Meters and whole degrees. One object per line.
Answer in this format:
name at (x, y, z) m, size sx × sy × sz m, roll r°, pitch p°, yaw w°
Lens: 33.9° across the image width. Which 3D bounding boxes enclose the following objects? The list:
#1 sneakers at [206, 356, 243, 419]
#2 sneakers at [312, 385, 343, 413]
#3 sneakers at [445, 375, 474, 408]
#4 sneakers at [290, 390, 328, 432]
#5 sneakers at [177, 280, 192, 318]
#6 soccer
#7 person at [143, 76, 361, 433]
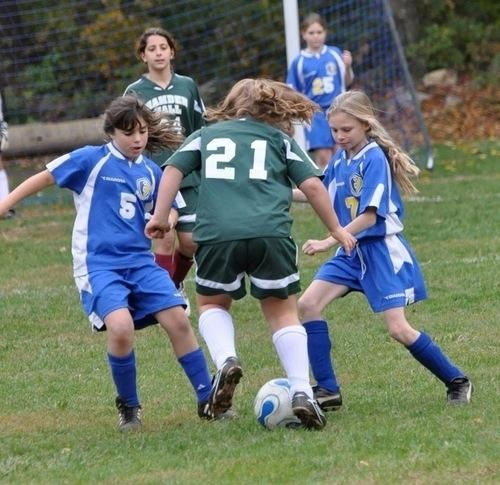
sneakers at (-0.142, 0.725, 3.969) m, size 0.119 × 0.342 × 0.166 m, roll 10°, pitch 25°, yaw -17°
sneakers at (0.387, 0.807, 4.318) m, size 0.196 × 0.093 × 0.071 m, roll 25°, pitch -8°, yaw 4°
sneakers at (1.074, 0.747, 4.196) m, size 0.140 × 0.120 × 0.129 m, roll -2°, pitch 13°, yaw 5°
sneakers at (0.265, 0.780, 4.017) m, size 0.132 × 0.159 × 0.328 m, roll -1°, pitch -18°, yaw 16°
sneakers at (-0.417, 0.347, 5.181) m, size 0.081 × 0.264 × 0.121 m, roll -8°, pitch -32°, yaw -9°
soccer at (0.148, 0.790, 4.150) m, size 0.250 × 0.211 × 0.221 m, roll 42°, pitch -4°, yaw 10°
person at (0.025, -0.022, 4.107) m, size 0.921 × 1.897 × 0.604 m, roll 1°, pitch -23°, yaw 0°
